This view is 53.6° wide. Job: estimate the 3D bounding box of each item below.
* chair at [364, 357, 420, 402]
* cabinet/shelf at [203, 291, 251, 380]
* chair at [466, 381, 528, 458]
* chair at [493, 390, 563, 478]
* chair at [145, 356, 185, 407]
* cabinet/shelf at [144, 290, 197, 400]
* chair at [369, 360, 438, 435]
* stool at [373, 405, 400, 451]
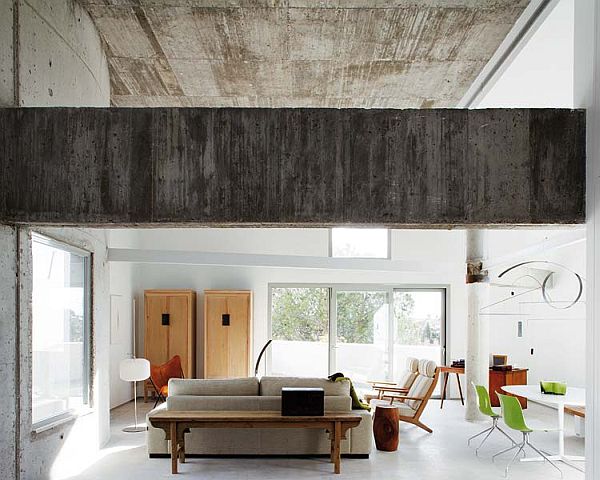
[{"bbox_3d":[1.541,2.378,9.698,0.704,0.847,0.533,3,-7,-3],"label":"chair"},{"bbox_3d":[-1.381,1.820,11.407,0.865,2.161,0.347,3,27,-3],"label":"cabinet/shelf"},{"bbox_3d":[2.574,2.365,7.926,0.545,0.714,0.466,2,-6,40],"label":"chair"},{"bbox_3d":[2.707,2.414,7.584,0.825,1.301,0.882,0,-10,6],"label":"chair"},{"bbox_3d":[-2.311,2.503,10.402,0.656,0.834,0.797,-7,-7,-11],"label":"chair"},{"bbox_3d":[-2.562,1.893,11.506,0.770,2.039,0.542,0,11,-16],"label":"cabinet/shelf"},{"bbox_3d":[1.556,2.313,9.042,0.774,1.062,0.722,5,-3,-14],"label":"chair"},{"bbox_3d":[1.156,2.532,7.986,0.354,0.574,0.386,2,-11,3],"label":"stool"}]
